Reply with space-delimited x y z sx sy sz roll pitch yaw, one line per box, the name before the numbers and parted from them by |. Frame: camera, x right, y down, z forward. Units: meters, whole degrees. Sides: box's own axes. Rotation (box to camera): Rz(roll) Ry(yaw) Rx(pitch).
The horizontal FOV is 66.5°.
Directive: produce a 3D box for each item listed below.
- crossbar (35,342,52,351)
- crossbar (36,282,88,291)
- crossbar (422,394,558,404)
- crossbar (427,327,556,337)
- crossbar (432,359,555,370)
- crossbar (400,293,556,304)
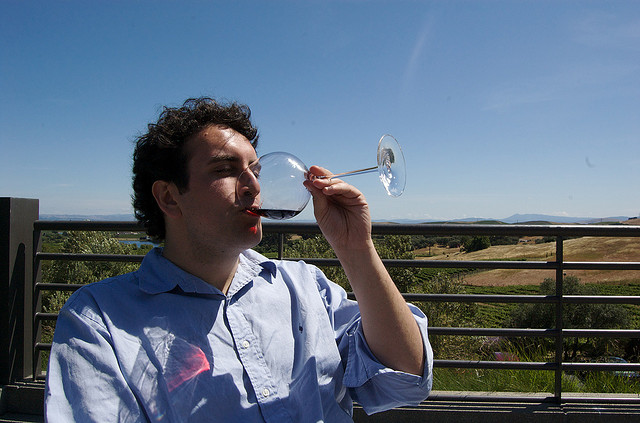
crossbar | -2.131 1.048 3.780 0.092 0.062 0.273 11 -15 -38
crossbar | -2.007 0.587 3.828 0.470 0.065 0.193 -5 -14 29
crossbar | 1.279 1.412 3.676 0.982 0.061 0.052 1 -12 1
crossbar | 1.260 0.899 3.662 1.015 0.063 0.212 4 -12 -10
crossbar | 1.288 1.180 3.759 0.932 0.081 0.311 3 -12 -6
crossbar | 1.203 0.662 3.756 1.116 0.079 0.418 -1 -12 9
